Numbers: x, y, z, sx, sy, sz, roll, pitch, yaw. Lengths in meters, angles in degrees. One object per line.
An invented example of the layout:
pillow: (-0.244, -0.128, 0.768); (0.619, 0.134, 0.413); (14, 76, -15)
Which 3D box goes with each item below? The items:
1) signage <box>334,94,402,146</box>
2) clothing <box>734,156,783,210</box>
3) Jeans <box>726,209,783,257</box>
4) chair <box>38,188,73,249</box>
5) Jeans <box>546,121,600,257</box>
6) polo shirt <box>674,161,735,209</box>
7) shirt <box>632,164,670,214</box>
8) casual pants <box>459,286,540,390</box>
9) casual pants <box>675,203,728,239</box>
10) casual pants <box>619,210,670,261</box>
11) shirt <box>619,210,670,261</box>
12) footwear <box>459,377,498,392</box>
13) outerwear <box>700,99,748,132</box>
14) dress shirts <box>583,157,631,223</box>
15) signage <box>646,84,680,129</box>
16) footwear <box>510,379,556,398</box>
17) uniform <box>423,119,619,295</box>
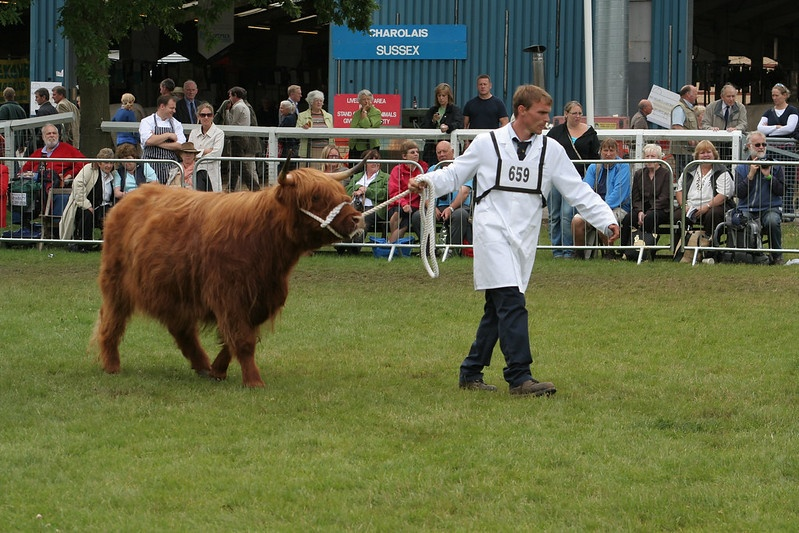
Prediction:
signage: (-0.589, -2.950, 29.017); (1.481, 1.217, 0.064); (1, 3, 16)
clothing: (5.727, -1.229, 23.500); (0.893, 1.185, 0.632); (0, -6, 6)
Jeans: (5.673, -0.639, 23.337); (0.751, 0.860, 0.744); (2, 12, 26)
chair: (-5.757, -0.856, 24.341); (0.754, 1.246, 0.875); (0, 8, -20)
Jeans: (2.779, -1.283, 23.916); (0.883, 2.374, 0.626); (6, -15, 6)
polo shirt: (4.961, -1.265, 23.648); (1.019, 0.965, 0.487); (4, -7, 42)
shirt: (4.081, -1.258, 23.818); (0.578, 0.831, 0.514); (3, 29, 3)
casual pants: (1.212, 0.863, 17.819); (0.828, 1.241, 0.267); (4, 5, 27)
casual pants: (4.984, -0.770, 23.584); (0.522, 0.243, 0.561); (5, -13, 5)
casual pants: (4.094, -0.630, 23.805); (0.287, 0.890, 0.851); (-21, 13, -29)
shirt: (3.974, -0.511, 23.889); (0.723, 0.844, 0.284); (4, 0, 6)
footwear: (0.978, 1.471, 17.997); (0.482, 0.239, 0.177); (-2, 3, 3)
outerwear: (6.243, -2.952, 28.106); (0.832, 0.908, 0.651); (2, -5, 21)
dress shirts: (3.346, -1.254, 23.722); (0.735, 0.962, 0.924); (-1, 7, -4)
signage: (5.353, -3.274, 29.908); (0.745, 0.914, 0.220); (19, -15, 8)
footwear: (1.622, 1.502, 17.761); (0.406, 0.170, 0.226); (-3, -1, 8)
uniform: (1.746, -0.724, 20.277); (2.305, 2.215, 0.666); (4, 0, -6)
